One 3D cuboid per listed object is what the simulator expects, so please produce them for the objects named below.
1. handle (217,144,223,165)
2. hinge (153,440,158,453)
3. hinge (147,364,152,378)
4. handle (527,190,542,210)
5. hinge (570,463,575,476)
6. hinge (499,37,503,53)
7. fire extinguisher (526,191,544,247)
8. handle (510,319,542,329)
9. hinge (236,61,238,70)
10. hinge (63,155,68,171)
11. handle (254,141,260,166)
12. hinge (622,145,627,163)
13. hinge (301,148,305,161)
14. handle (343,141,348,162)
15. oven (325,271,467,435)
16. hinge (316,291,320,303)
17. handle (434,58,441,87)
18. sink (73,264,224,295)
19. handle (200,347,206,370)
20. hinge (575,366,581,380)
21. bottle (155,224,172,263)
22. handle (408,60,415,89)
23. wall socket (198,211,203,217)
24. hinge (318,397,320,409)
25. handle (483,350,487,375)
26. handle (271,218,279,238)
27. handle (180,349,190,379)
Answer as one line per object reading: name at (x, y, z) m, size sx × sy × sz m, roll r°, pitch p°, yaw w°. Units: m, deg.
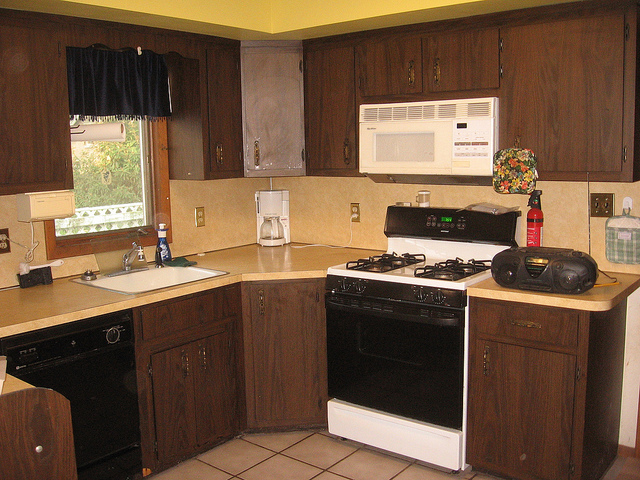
handle at (-0.656, -0.563, 3.410) m, size 0.011 × 0.122 × 0.045 m, roll 6°, pitch 13°, yaw 35°
hinge at (-0.892, 1.118, 2.808) m, size 0.026 × 0.075 × 0.003 m, roll -11°, pitch 14°, yaw -43°
hinge at (-0.901, 0.689, 2.748) m, size 0.022 × 0.066 × 0.004 m, roll -5°, pitch 11°, yaw -20°
handle at (1.208, -0.228, 2.911) m, size 0.099 × 0.151 × 0.063 m, roll 4°, pitch 7°, yaw 21°
hinge at (1.242, 1.129, 2.551) m, size 0.014 × 0.059 × 0.014 m, roll 4°, pitch -1°, yaw -25°
hinge at (1.003, -1.076, 2.872) m, size 0.006 × 0.069 × 0.022 m, roll -10°, pitch 14°, yaw -41°
fire extinguisher at (1.199, -0.116, 2.887) m, size 0.088 × 0.300 × 0.248 m, roll 3°, pitch 12°, yaw 22°
handle at (1.027, 0.419, 2.584) m, size 0.135 × 0.038 × 0.004 m, roll 5°, pitch 12°, yaw 29°
hinge at (-0.550, -1.163, 3.439) m, size 0.003 × 0.044 × 0.012 m, roll 9°, pitch 14°, yaw 43°
hinge at (-1.360, -0.410, 2.776) m, size 0.004 × 0.076 × 0.019 m, roll 6°, pitch 12°, yaw 33°
handle at (-0.427, -0.591, 3.516) m, size 0.035 × 0.155 × 0.014 m, roll -3°, pitch 11°, yaw -11°
hinge at (1.554, -0.442, 2.645) m, size 0.024 × 0.078 × 0.003 m, roll 8°, pitch 13°, yaw 39°
hinge at (-0.114, -0.583, 3.573) m, size 0.015 × 0.072 × 0.003 m, roll -4°, pitch 11°, yaw -18°
handle at (0.167, -0.578, 3.415) m, size 0.034 × 0.126 × 0.010 m, roll 4°, pitch 11°, yaw 26°
oven at (0.460, 0.534, 3.244) m, size 0.960 × 1.053 × 0.727 m, roll 4°, pitch 6°, yaw 33°
hinge at (-0.013, 0.344, 3.160) m, size 0.018 × 0.067 × 0.002 m, roll -2°, pitch 10°, yaw -6°
handle at (0.692, -0.991, 3.059) m, size 0.041 × 0.158 × 0.011 m, roll 7°, pitch 13°, yaw 37°
sink at (-1.039, 0.253, 3.112) m, size 0.783 × 0.137 × 0.338 m, roll -7°, pitch 12°, yaw -25°
handle at (-0.662, 0.677, 2.962) m, size 0.005 × 0.125 × 0.028 m, roll 8°, pitch 13°, yaw 39°
hinge at (1.241, 0.637, 2.495) m, size 0.015 × 0.065 × 0.062 m, roll 2°, pitch -1°, yaw 9°
bottle at (-1.011, 0.024, 3.326) m, size 0.105 × 0.233 × 0.164 m, roll -4°, pitch 11°, yaw -18°
handle at (0.552, -1.002, 3.138) m, size 0.039 × 0.162 × 0.017 m, roll 2°, pitch 11°, yaw 14°
wall socket at (-0.849, -0.187, 3.672) m, size 0.009 × 0.037 × 0.035 m, roll 3°, pitch 1°, yaw 42°
hinge at (-0.004, 1.017, 3.242) m, size 0.018 × 0.060 × 0.006 m, roll -6°, pitch 11°, yaw -25°
handle at (0.863, 0.639, 2.713) m, size 0.016 × 0.126 × 0.007 m, roll 3°, pitch 11°, yaw 20°
handle at (-0.329, -0.089, 3.858) m, size 0.055 × 0.144 × 0.022 m, roll -8°, pitch 12°, yaw -34°
handle at (-0.748, 0.684, 2.883) m, size 0.046 × 0.160 × 0.010 m, roll -9°, pitch 13°, yaw -37°
